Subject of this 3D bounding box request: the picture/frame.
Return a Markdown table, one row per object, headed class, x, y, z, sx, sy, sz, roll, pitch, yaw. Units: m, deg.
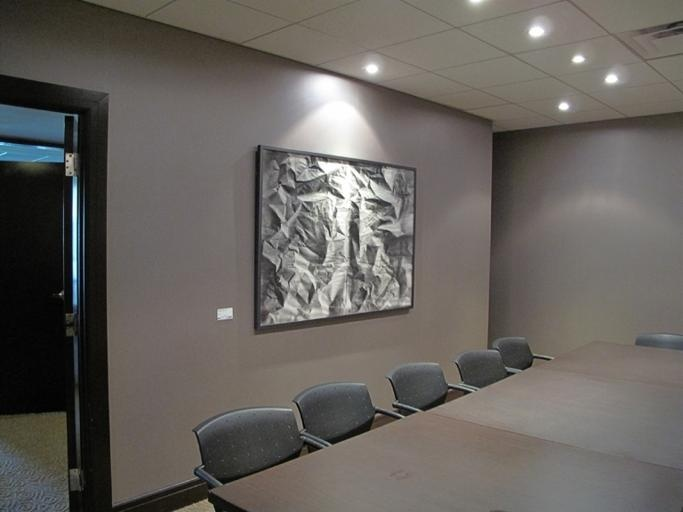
| class | x | y | z | sx | sy | sz | roll | pitch | yaw |
| --- | --- | --- | --- | --- | --- | --- | --- | --- | --- |
| picture/frame | -0.113 | -0.163 | 4.358 | 1.800 | 1.654 | 0.063 | -1 | 5 | -40 |
